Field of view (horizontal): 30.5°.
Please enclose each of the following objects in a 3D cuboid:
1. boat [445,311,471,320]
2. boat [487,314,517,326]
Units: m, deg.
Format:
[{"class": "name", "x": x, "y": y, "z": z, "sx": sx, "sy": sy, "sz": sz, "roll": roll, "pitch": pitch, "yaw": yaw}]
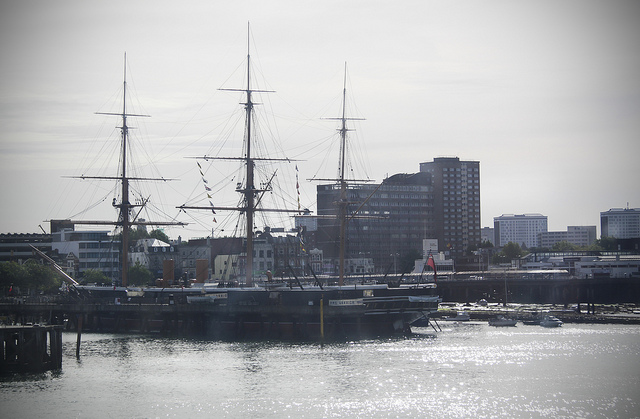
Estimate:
[{"class": "boat", "x": 28.395, "y": 21.381, "z": 235.821, "sx": 6.262, "sy": 2.252, "sz": 1.756, "roll": -1, "pitch": 2, "yaw": -2}, {"class": "boat", "x": 34.591, "y": 21.149, "z": 222.147, "sx": 4.531, "sy": 1.762, "sz": 2.215, "roll": -2, "pitch": -2, "yaw": 28}]
